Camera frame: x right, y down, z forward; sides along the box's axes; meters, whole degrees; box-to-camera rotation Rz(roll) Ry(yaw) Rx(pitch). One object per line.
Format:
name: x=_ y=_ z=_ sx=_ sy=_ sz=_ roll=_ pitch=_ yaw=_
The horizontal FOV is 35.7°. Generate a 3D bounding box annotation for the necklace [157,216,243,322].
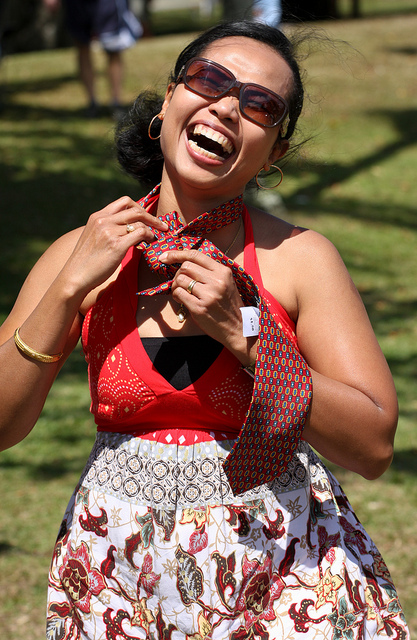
necklace: x=-0.022 y=-0.120 z=1.539 sx=0.279 sy=0.178 sz=0.224 roll=-5 pitch=17 yaw=-15

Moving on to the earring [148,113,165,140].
earring: x=-0.148 y=-0.536 z=1.800 sx=0.036 sy=0.091 sz=0.073 roll=-8 pitch=39 yaw=-7

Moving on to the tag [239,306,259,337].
tag: x=0.091 y=0.004 z=1.395 sx=0.065 sy=0.053 sz=0.015 roll=-7 pitch=2 yaw=-38
